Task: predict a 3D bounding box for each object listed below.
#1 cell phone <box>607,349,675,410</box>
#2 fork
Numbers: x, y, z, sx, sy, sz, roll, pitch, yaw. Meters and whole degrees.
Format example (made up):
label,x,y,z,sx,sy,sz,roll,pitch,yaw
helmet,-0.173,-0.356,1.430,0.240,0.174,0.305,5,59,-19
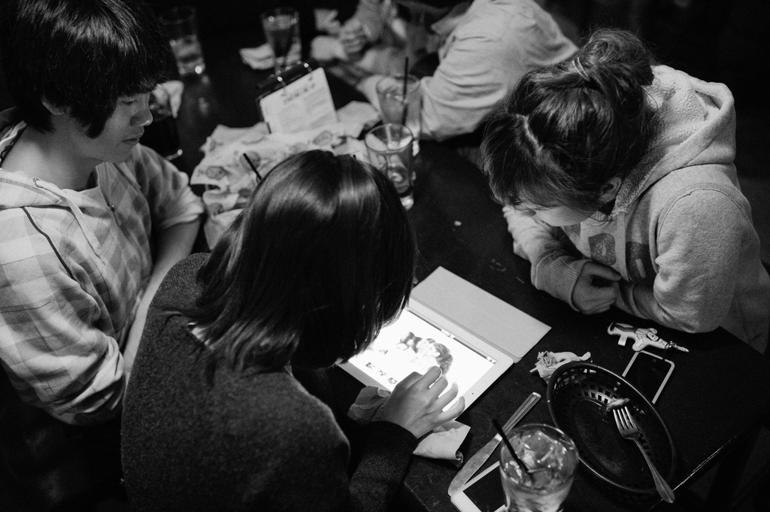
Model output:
label,x,y,z,sx,sy,sz,roll,pitch,yaw
cell phone,0.678,0.330,1.628,0.098,0.014,0.139,28,65,14
fork,0.617,0.464,1.526,0.067,0.038,0.272,-25,47,2
